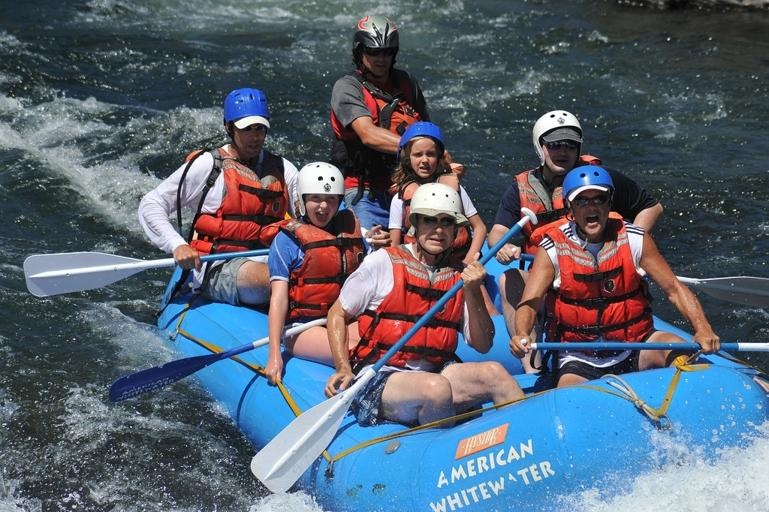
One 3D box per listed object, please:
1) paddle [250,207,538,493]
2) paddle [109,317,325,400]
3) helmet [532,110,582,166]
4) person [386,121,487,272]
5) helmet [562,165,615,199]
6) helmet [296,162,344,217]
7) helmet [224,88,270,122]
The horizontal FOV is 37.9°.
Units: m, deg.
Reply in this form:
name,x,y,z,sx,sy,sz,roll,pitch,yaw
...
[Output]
name,x,y,z,sx,sy,sz,roll,pitch,yaw
paddle,0.066,0.995,10.784,3.650,0.281,0.516,-44,67,-9
paddle,-1.650,1.075,11.513,1.899,0.123,0.204,-22,55,0
helmet,1.806,-1.317,11.795,0.445,0.463,0.589,2,7,-6
person,0.504,-0.725,12.009,1.046,1.558,0.709,-1,15,-11
helmet,1.940,-0.739,10.659,0.302,0.407,0.307,-2,2,-4
helmet,-0.685,-0.760,11.551,0.506,0.534,0.603,-5,24,-23
helmet,-1.466,-1.717,12.123,0.472,0.318,0.603,0,30,-2
